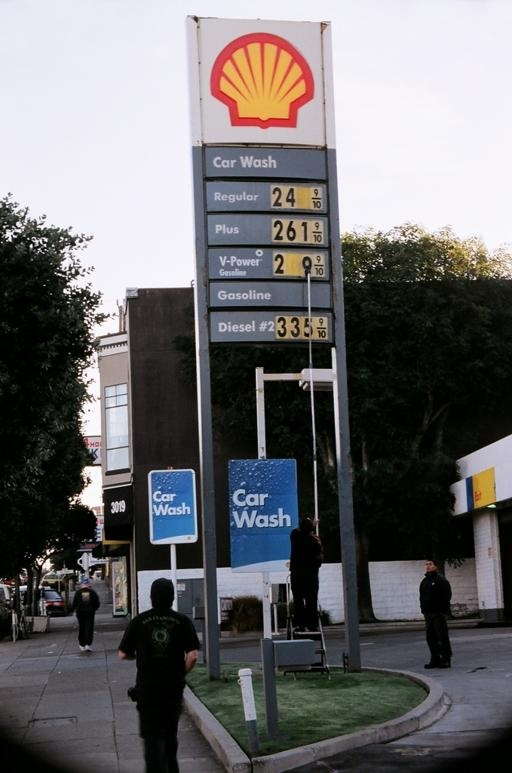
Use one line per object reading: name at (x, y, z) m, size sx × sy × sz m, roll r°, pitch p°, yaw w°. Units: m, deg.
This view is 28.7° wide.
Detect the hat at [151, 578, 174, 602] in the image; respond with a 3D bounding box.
hat at (-0.593, 1.310, 6.346) m, size 0.126 × 0.171 × 0.172 m, roll 2°, pitch 5°, yaw 0°

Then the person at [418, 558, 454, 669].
person at (2.580, 3.297, 14.376) m, size 0.444 × 1.460 × 0.990 m, roll -6°, pitch -8°, yaw 10°

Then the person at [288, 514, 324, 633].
person at (0.654, 2.482, 13.064) m, size 0.439 × 1.449 × 0.607 m, roll -5°, pitch -8°, yaw 1°

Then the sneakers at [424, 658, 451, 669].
sneakers at (2.531, 3.904, 14.030) m, size 0.411 × 0.179 × 0.137 m, roll 9°, pitch -15°, yaw -21°
